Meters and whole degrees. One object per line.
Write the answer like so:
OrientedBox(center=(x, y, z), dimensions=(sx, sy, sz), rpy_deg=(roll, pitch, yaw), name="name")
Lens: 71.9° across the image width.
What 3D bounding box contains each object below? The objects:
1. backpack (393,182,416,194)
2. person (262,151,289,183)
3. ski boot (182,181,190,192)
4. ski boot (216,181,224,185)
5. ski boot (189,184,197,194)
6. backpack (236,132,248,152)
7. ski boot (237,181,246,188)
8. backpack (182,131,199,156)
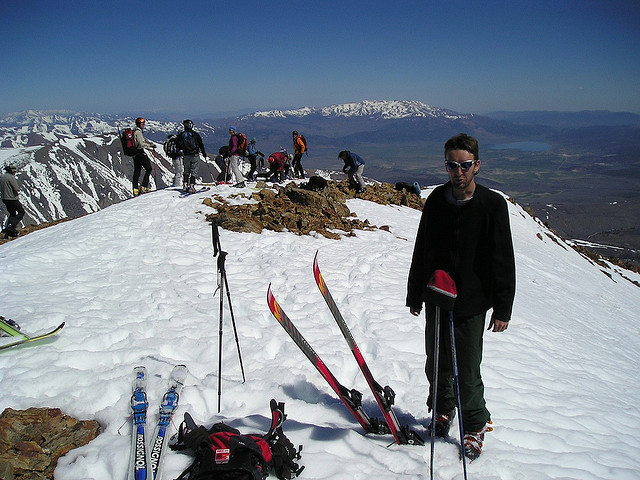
OrientedBox(center=(5.344, -3.231, 27.793), dimensions=(1.175, 0.381, 0.826), rpy_deg=(5, 10, 10), name="backpack")
OrientedBox(center=(-2.300, -4.136, 24.466), dimensions=(1.083, 1.618, 1.345), rpy_deg=(3, 20, -24), name="person")
OrientedBox(center=(-5.733, -2.266, 18.871), dimensions=(0.271, 0.400, 0.460), rpy_deg=(-10, 21, -17), name="ski boot")
OrientedBox(center=(-4.739, -2.699, 20.790), dimensions=(0.315, 0.152, 0.253), rpy_deg=(14, 19, 37), name="ski boot")
OrientedBox(center=(-5.441, -2.203, 18.893), dimensions=(0.308, 0.307, 0.668), rpy_deg=(-8, 20, -12), name="ski boot")
OrientedBox(center=(-3.291, -4.097, 18.485), dimensions=(0.399, 0.853, 0.793), rpy_deg=(-7, 20, -10), name="backpack")
OrientedBox(center=(-3.519, -2.511, 19.990), dimensions=(0.267, 0.301, 0.426), rpy_deg=(9, 23, 31), name="ski boot")
OrientedBox(center=(-5.067, -3.829, 17.371), dimensions=(0.741, 0.928, 0.338), rpy_deg=(3, 21, 16), name="backpack")
